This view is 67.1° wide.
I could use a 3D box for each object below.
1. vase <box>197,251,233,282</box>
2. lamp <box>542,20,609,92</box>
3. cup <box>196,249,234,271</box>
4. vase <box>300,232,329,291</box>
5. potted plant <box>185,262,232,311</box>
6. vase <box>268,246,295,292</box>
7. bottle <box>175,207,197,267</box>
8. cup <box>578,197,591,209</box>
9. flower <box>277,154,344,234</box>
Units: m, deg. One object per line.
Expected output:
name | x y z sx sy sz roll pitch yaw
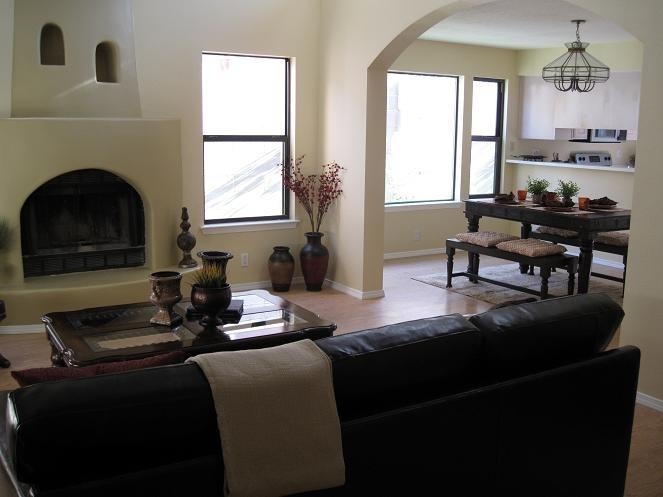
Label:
vase | -0.765 0.109 3.206 0.192 0.201 0.179 -6 29 -41
lamp | 2.975 -2.284 6.059 0.634 0.804 1.481 3 12 26
cup | -0.762 0.024 3.202 0.189 0.145 0.194 3 9 -1
vase | -0.204 0.158 5.838 0.302 0.679 0.226 -6 11 -19
potted plant | -0.756 0.242 3.219 0.285 0.383 0.269 0 1 0
vase | -0.595 0.241 5.819 0.288 0.505 0.274 -5 11 -13
bottle | -1.524 -0.122 5.168 0.190 0.607 0.402 -6 11 -17
cup | 2.898 -0.518 5.765 0.141 0.165 0.141 0 6 0
flower | -0.196 -0.580 6.178 0.928 1.043 0.823 2 1 27
